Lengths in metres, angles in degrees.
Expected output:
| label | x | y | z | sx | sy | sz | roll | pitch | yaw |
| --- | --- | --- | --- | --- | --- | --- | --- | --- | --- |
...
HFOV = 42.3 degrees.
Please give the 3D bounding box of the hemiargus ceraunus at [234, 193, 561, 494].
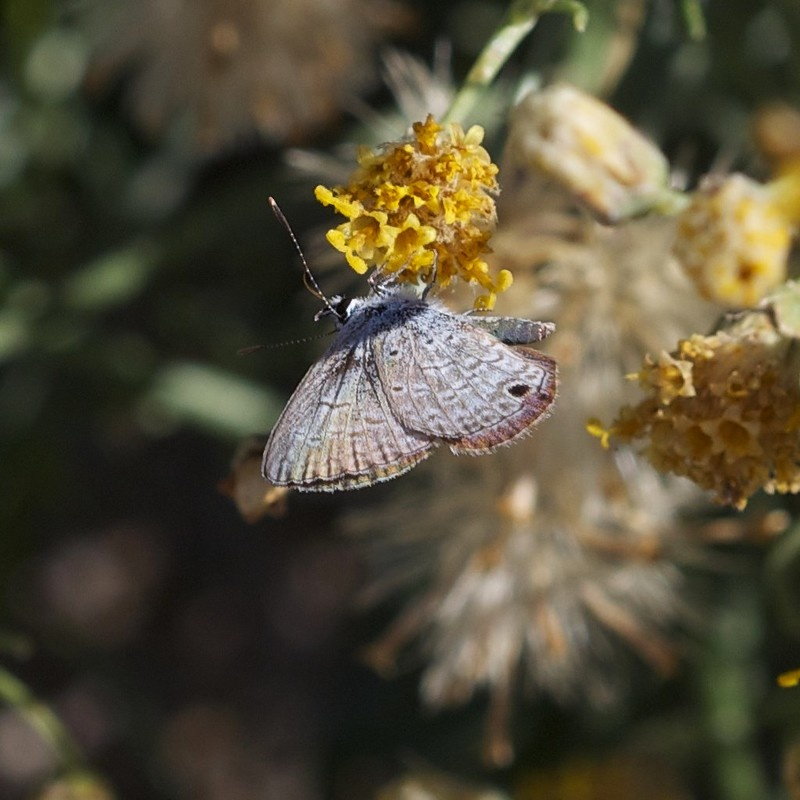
| label | x | y | z | sx | sy | sz | roll | pitch | yaw |
| --- | --- | --- | --- | --- | --- | --- | --- | --- | --- |
| hemiargus ceraunus | 0.001 | -0.028 | 0.975 | 0.324 | 0.285 | 0.161 | 23 | 99 | 3 |
